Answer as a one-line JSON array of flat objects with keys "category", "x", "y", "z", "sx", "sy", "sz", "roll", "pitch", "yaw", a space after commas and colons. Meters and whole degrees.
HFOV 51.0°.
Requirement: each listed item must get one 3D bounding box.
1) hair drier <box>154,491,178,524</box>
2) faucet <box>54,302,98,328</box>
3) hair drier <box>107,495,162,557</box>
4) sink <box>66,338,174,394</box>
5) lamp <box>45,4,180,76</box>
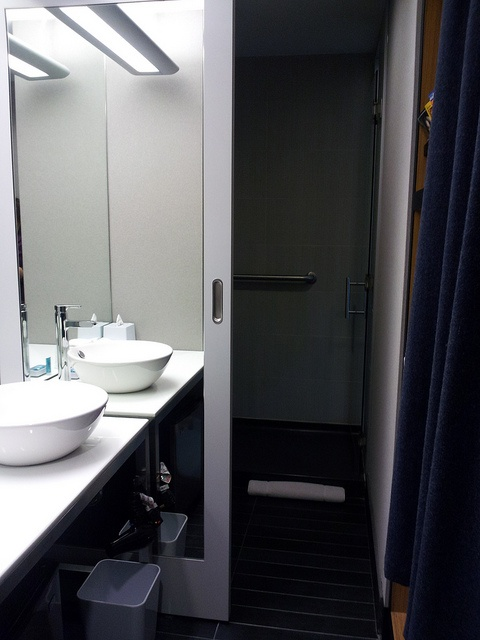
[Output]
[{"category": "hair drier", "x": -0.244, "y": 0.623, "z": 1.671, "sx": 0.039, "sy": 0.088, "sz": 0.024, "roll": -2, "pitch": 3, "yaw": 3}, {"category": "faucet", "x": -0.530, "y": -0.006, "z": 1.591, "sx": 0.126, "sy": 0.090, "sz": 0.187, "roll": -1, "pitch": 9, "yaw": -6}, {"category": "hair drier", "x": -0.334, "y": 0.665, "z": 1.622, "sx": 0.176, "sy": 0.200, "sz": 0.076, "roll": -3, "pitch": 8, "yaw": -21}, {"category": "sink", "x": -0.377, "y": 0.092, "z": 1.635, "sx": 0.250, "sy": 0.197, "sz": 0.326, "roll": 6, "pitch": 13, "yaw": 2}, {"category": "lamp", "x": -0.377, "y": -0.844, "z": 1.527, "sx": 0.383, "sy": 0.189, "sz": 0.052, "roll": 1, "pitch": 7, "yaw": 4}]
